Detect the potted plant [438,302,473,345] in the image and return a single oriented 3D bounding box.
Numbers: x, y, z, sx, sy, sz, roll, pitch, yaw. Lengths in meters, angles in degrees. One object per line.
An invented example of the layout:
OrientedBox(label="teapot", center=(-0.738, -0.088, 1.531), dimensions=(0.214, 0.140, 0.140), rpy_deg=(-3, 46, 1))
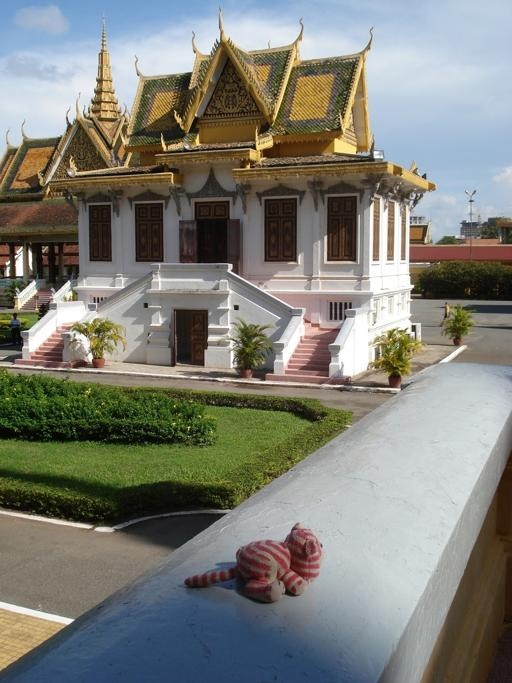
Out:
OrientedBox(label="potted plant", center=(8.495, -0.454, 28.433), dimensions=(0.853, 1.144, 0.803), rpy_deg=(-4, 6, -37))

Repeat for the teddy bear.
OrientedBox(label="teddy bear", center=(0.028, 0.810, 2.525), dimensions=(0.385, 0.154, 0.251), rpy_deg=(-3, 1, -7))

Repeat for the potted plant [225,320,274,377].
OrientedBox(label="potted plant", center=(-0.243, 0.258, 21.219), dimensions=(1.295, 1.578, 1.305), rpy_deg=(10, 20, 36))

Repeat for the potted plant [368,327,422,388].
OrientedBox(label="potted plant", center=(4.078, 0.594, 19.515), dimensions=(1.241, 1.483, 1.155), rpy_deg=(5, -4, -15))

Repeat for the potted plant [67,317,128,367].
OrientedBox(label="potted plant", center=(-5.729, 0.072, 24.024), dimensions=(1.965, 1.962, 1.451), rpy_deg=(0, 16, 2))
